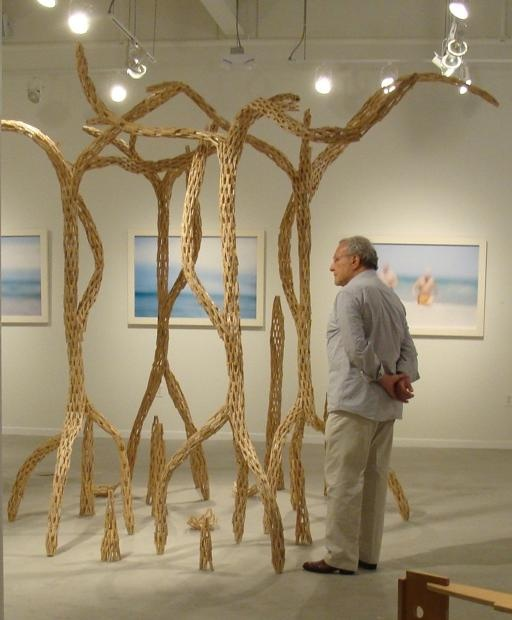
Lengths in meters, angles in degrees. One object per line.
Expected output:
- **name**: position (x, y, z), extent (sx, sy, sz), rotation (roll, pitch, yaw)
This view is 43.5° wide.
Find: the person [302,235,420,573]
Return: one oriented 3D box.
- **person**: position (0.488, 0.429, 2.977), extent (0.529, 1.581, 0.385), rotation (0, -1, -3)
